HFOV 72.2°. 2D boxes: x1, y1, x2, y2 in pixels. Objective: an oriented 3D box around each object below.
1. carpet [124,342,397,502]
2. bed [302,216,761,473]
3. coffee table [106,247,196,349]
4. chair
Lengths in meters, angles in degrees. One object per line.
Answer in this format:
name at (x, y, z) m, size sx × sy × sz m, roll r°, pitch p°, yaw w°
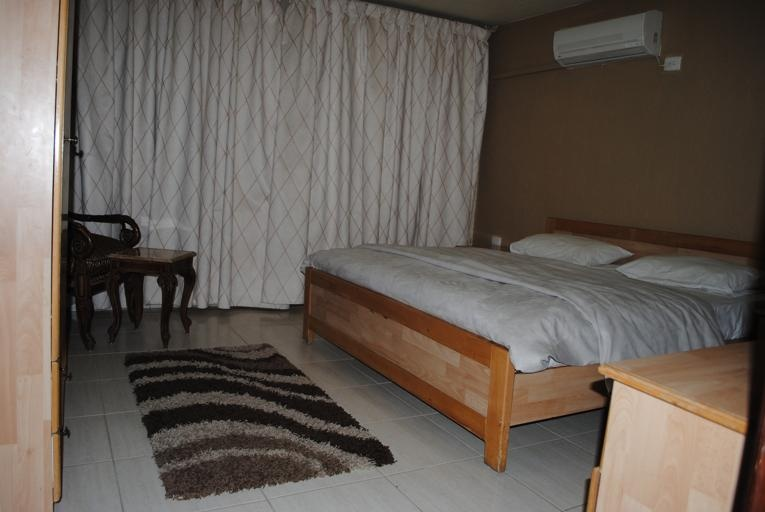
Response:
carpet at (-0.903, 0.906, 3.270) m, size 1.150 × 0.029 × 1.962 m, roll 4°, pitch 6°, yaw -32°
bed at (1.159, 0.582, 3.398) m, size 1.974 × 0.773 × 1.773 m, roll -4°, pitch 11°, yaw -29°
coffee table at (-1.806, 0.310, 4.128) m, size 0.626 × 0.664 × 0.630 m, roll 12°, pitch 10°, yaw 35°
chair at (-1.941, 0.114, 3.812) m, size 0.527 × 0.582 × 0.434 m, roll -5°, pitch -29°, yaw -1°
